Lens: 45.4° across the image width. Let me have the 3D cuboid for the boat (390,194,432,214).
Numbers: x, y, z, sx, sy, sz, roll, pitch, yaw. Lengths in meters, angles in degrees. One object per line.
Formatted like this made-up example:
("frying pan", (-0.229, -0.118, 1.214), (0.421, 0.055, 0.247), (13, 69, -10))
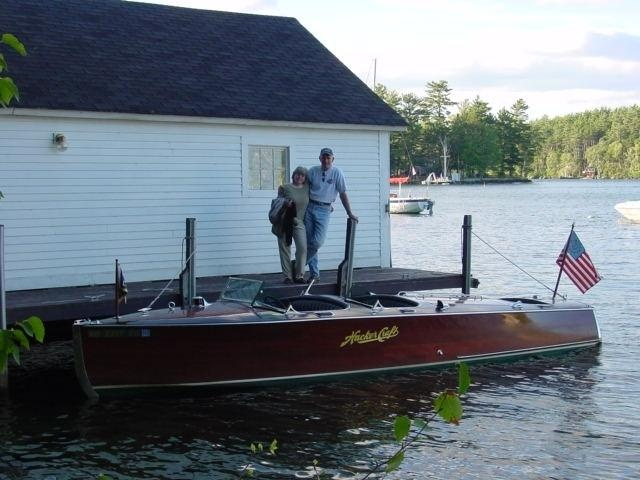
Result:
("boat", (6.889, -2.598, 58.509), (2.945, 1.251, 3.777), (0, 5, 2))

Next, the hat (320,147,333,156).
("hat", (0.102, -1.452, 12.555), (0.198, 0.126, 0.272), (0, -5, 5))
